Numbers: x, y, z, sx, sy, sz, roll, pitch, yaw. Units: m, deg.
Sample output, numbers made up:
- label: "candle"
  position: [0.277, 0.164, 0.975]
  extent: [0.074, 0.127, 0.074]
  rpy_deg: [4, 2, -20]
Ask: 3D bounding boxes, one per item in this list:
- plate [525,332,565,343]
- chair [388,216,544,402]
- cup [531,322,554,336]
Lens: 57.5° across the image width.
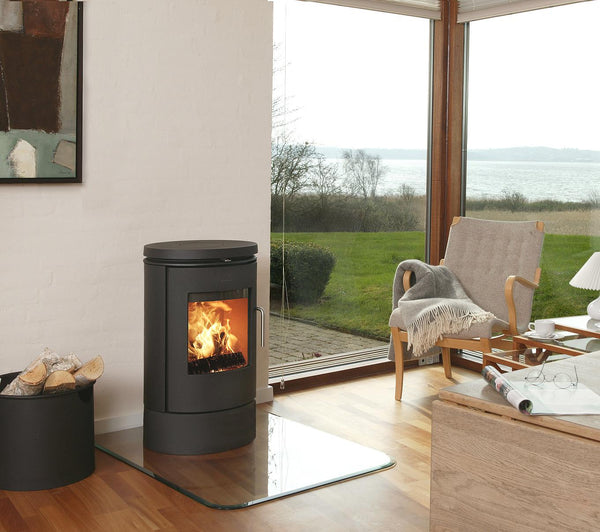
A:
- label: "plate"
  position: [1.291, 0.366, 2.886]
  extent: [0.187, 0.032, 0.191]
  rpy_deg: [3, 5, 24]
- label: "chair"
  position: [1.064, 0.258, 3.454]
  extent: [1.016, 0.976, 0.853]
  rpy_deg: [-8, 11, -24]
- label: "cup"
  position: [1.302, 0.331, 2.904]
  extent: [0.094, 0.060, 0.071]
  rpy_deg: [0, 3, 20]
